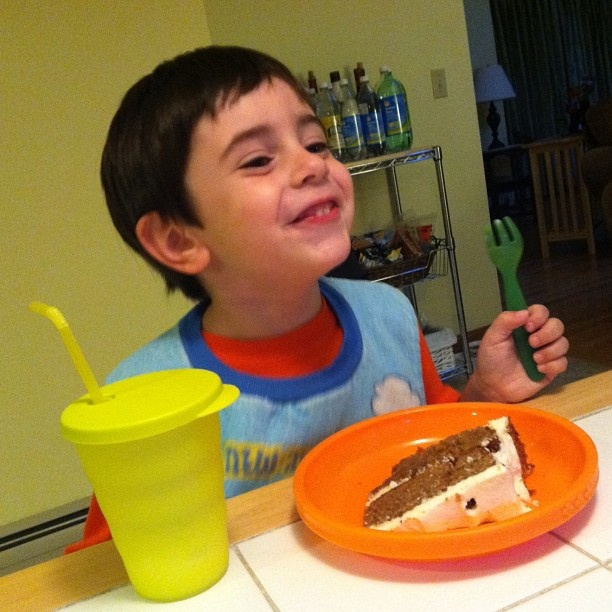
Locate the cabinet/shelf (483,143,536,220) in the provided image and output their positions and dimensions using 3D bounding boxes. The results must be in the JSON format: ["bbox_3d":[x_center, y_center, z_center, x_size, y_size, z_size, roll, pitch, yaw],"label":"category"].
[{"bbox_3d":[2.158,-1.347,6.680,0.556,0.634,0.516,-4,-2,-25],"label":"cabinet/shelf"}]

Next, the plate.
[{"bbox_3d":[0.139,0.159,0.589,0.301,0.277,0.029,10,44,-12],"label":"plate"}]

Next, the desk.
[{"bbox_3d":[1.880,-0.876,4.922,0.512,0.889,1.011,-9,5,-6],"label":"desk"}]

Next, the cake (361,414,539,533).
[{"bbox_3d":[0.097,0.165,0.527,0.123,0.030,0.122,-26,11,43],"label":"cake"}]

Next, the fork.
[{"bbox_3d":[0.263,-0.041,0.748,0.057,0.324,0.038,-19,27,-13],"label":"fork"}]

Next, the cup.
[{"bbox_3d":[-0.111,0.139,0.455,0.129,0.146,0.125,-9,8,1],"label":"cup"}]
